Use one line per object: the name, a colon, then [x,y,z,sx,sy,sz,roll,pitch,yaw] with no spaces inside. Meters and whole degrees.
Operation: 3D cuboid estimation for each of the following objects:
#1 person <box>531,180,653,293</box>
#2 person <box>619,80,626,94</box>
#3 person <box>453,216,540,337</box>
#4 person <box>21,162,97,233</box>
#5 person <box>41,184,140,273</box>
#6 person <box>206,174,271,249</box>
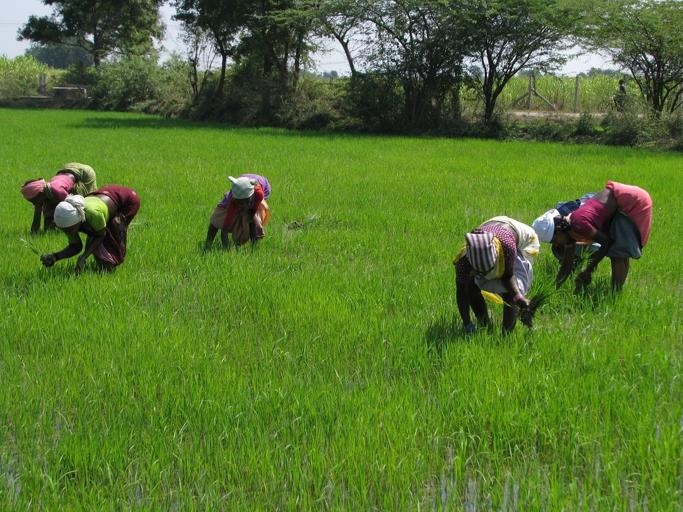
person: [2.667,-0.261,7.966,1.306,1.677,0.936,3,5,15]
person: [11.486,-6.901,29.716,0.248,0.616,1.024,4,17,17]
person: [1.387,0.171,6.889,0.655,0.944,1.191,4,33,25]
person: [-3.824,-0.803,10.202,0.490,0.848,1.136,4,22,24]
person: [-2.842,-0.287,8.499,0.445,1.007,1.284,4,17,19]
person: [-1.386,-0.607,9.579,0.744,1.068,1.152,1,16,6]
